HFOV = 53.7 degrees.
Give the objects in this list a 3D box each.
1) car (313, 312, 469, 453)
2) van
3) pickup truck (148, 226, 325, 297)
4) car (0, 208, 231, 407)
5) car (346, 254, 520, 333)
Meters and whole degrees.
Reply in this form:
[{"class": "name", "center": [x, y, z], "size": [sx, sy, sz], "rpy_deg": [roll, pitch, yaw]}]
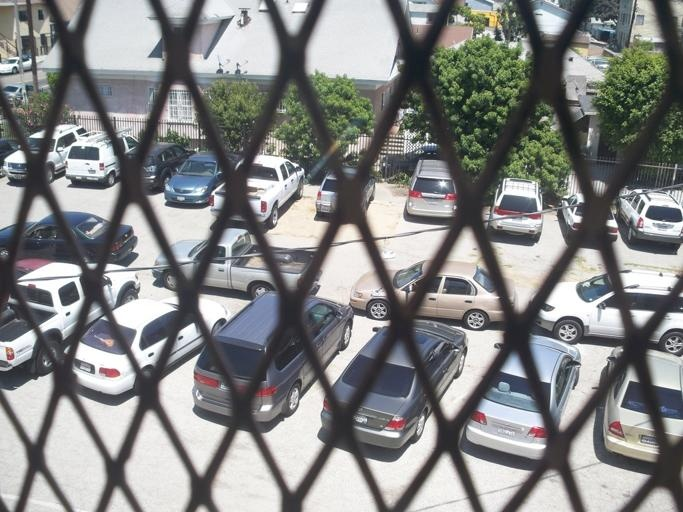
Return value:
[{"class": "car", "center": [0.856, 1.461, 9.576], "size": [1.295, 1.066, 3.083], "rpy_deg": [8, 33, 25]}, {"class": "van", "center": [-0.938, 1.210, 10.079], "size": [1.345, 1.141, 3.049], "rpy_deg": [9, 32, 23]}, {"class": "pickup truck", "center": [-2.285, 0.461, 13.618], "size": [2.673, 1.083, 1.216], "rpy_deg": [8, -9, -6]}, {"class": "car", "center": [-3.938, 1.051, 10.885], "size": [2.936, 1.557, 3.421], "rpy_deg": [-11, 27, -38]}, {"class": "car", "center": [1.620, 0.421, 12.442], "size": [2.749, 1.067, 1.514], "rpy_deg": [7, 35, 8]}]
